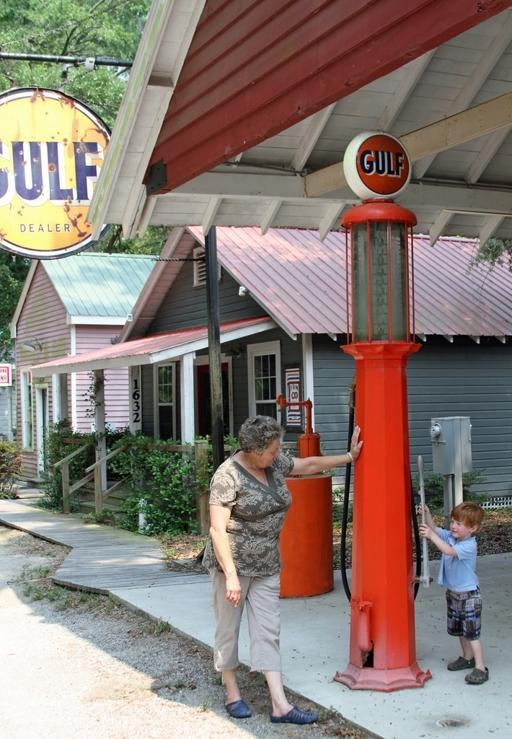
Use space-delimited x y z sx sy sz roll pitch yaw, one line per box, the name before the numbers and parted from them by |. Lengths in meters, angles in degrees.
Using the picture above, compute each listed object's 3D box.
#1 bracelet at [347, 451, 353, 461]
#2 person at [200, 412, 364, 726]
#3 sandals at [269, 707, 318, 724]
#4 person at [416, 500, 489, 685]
bracelet | 0.490 0.444 3.945 0.021 0.041 0.037 -9 -1 -6
person | 0.012 0.949 3.687 0.529 1.451 0.804 -5 -4 3
sandals | 0.186 1.586 3.536 0.234 0.080 0.079 -2 -2 4
person | 1.095 1.165 4.097 0.324 0.945 0.654 -6 -5 15
